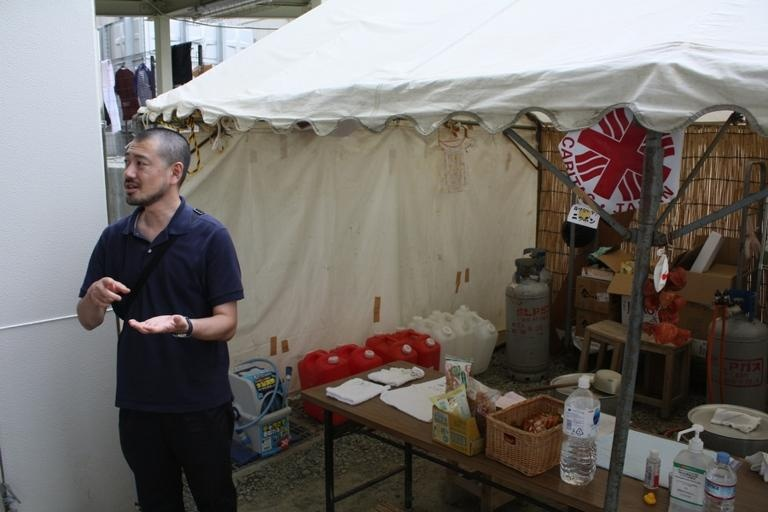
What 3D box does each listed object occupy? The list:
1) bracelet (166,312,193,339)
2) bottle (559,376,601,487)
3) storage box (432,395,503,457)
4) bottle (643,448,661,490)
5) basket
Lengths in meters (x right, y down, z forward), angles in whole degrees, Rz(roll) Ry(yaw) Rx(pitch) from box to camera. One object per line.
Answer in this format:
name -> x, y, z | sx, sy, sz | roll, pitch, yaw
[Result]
bracelet -> -1.042, 0.370, 3.007 | 0.112, 0.132, 0.051 | 3, 8, -1
bottle -> 1.077, 0.931, 3.132 | 0.236, 0.589, 0.212 | 0, 13, 3
storage box -> 0.468, 0.887, 3.355 | 0.250, 0.343, 0.455 | -12, 18, -42
bottle -> 1.456, 1.143, 3.133 | 0.081, 0.200, 0.178 | 6, 14, 26
basket -> 0.819, 1.004, 3.266 | 0.294, 0.202, 0.462 | 3, 4, 41
